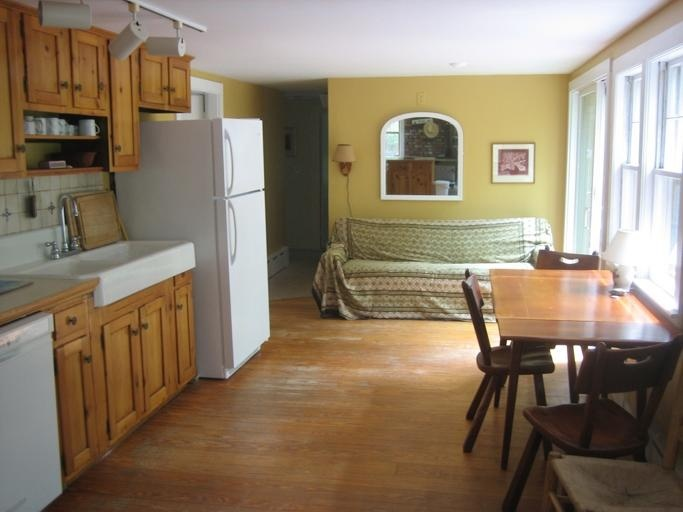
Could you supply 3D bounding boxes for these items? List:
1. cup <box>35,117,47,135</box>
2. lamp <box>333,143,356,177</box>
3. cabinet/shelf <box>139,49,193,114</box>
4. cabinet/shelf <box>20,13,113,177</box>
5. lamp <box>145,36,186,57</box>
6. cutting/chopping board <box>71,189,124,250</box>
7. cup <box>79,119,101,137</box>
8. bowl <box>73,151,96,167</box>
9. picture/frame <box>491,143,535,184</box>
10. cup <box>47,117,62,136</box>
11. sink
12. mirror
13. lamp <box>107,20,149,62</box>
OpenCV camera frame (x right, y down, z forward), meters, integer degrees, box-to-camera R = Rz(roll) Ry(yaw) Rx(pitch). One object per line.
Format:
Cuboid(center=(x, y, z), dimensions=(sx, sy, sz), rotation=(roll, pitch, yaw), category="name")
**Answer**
Cuboid(center=(-1.843, -0.801, 3.263), dimensions=(0.051, 0.100, 0.089), rotation=(-5, 14, -16), category="cup")
Cuboid(center=(0.032, -1.150, 6.410), dimensions=(0.253, 0.395, 0.250), rotation=(0, 14, 7), category="lamp")
Cuboid(center=(-1.366, -1.344, 4.083), dimensions=(0.202, 0.360, 0.574), rotation=(1, 5, 7), category="cabinet/shelf")
Cuboid(center=(-1.720, -0.992, 3.362), dimensions=(0.404, 0.918, 0.710), rotation=(-3, 14, -8), category="cabinet/shelf")
Cuboid(center=(-1.114, -1.296, 3.301), dimensions=(0.203, 0.116, 0.353), rotation=(-8, 15, -25), category="lamp")
Cuboid(center=(-1.795, -0.258, 3.872), dimensions=(0.067, 0.331, 0.425), rotation=(-6, 7, 14), category="cutting/chopping board")
Cuboid(center=(-1.692, -0.865, 3.591), dimensions=(0.101, 0.122, 0.160), rotation=(4, 9, 4), category="cup")
Cuboid(center=(-1.740, -0.651, 3.602), dimensions=(0.106, 0.074, 0.106), rotation=(-1, 0, 0), category="bowl")
Cuboid(center=(2.024, -1.103, 6.229), dimensions=(0.468, 0.441, 0.034), rotation=(1, 3, 6), category="picture/frame")
Cuboid(center=(-1.804, -0.815, 3.336), dimensions=(0.082, 0.111, 0.135), rotation=(-8, 15, -26), category="cup")
Cuboid(center=(-1.585, 0.099, 3.624), dimensions=(0.649, 0.241, 1.156), rotation=(3, 14, 16), category="sink")
Cuboid(center=(0.983, -1.240, 6.373), dimensions=(1.036, 1.102, 0.122), rotation=(1, 11, 6), category="mirror")
Cuboid(center=(-1.205, -1.221, 3.006), dimensions=(0.303, 0.178, 0.108), rotation=(11, 18, 40), category="lamp")
